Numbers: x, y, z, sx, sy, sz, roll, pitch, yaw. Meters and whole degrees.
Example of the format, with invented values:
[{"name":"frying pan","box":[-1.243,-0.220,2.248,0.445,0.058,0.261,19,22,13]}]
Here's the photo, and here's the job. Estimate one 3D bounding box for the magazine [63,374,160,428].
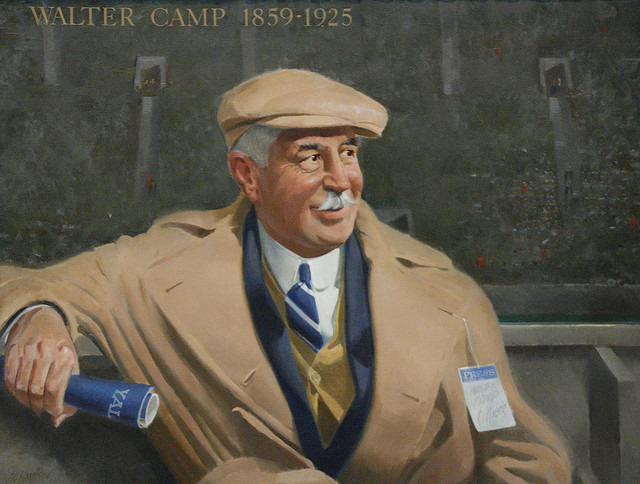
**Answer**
[{"name":"magazine","box":[-1.553,1.164,11.363,0.493,0.446,0.672,9,11,37]}]
